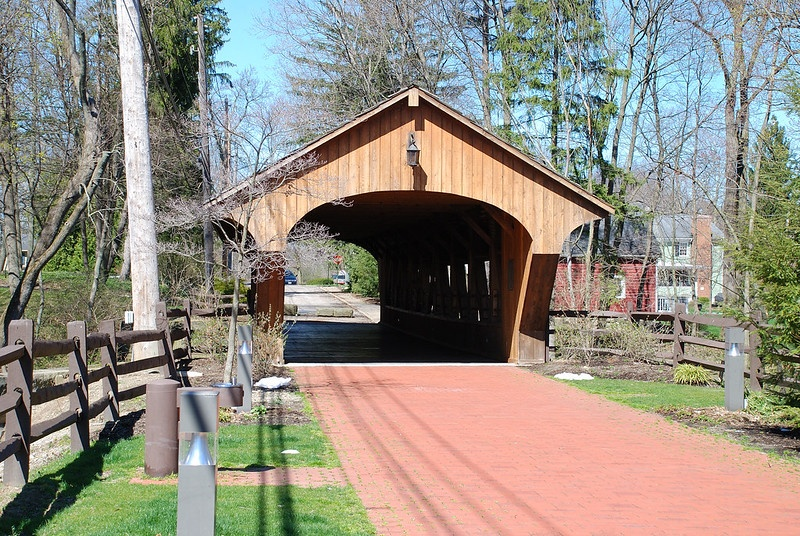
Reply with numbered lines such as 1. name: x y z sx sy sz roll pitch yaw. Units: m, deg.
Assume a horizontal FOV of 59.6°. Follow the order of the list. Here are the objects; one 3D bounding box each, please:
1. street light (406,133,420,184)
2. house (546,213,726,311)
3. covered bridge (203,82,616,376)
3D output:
1. street light: 0.316 -2.791 17.233 0.358 1.069 0.317 1 3 -3
2. house: 11.717 -0.091 36.220 6.777 3.888 3.904 1 -1 32
3. covered bridge: 0.233 -1.331 22.868 6.947 5.069 11.651 1 -4 -8
